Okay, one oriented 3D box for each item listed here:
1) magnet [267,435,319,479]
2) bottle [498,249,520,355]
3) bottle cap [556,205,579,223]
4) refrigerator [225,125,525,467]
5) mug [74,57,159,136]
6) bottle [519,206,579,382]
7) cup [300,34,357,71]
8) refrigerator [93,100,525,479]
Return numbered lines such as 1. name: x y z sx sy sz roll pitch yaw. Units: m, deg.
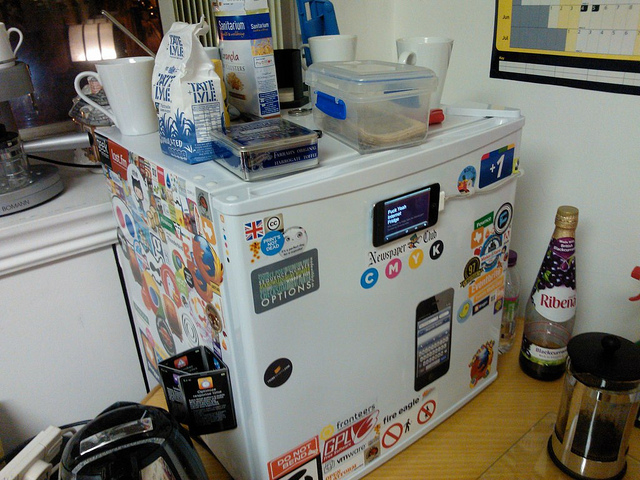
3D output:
1. magnet: -0.048 0.416 0.935 0.107 0.054 0.008 -15 29 -26
2. bottle: 0.486 0.170 1.290 0.064 0.233 0.057 -10 15 -40
3. bottle cap: 0.548 -0.058 1.089 0.036 0.027 0.037 19 33 36
4. refrigerator: 0.102 0.094 1.138 0.673 0.677 0.370 -16 23 -27
5. mug: -0.436 -0.307 1.070 0.168 0.153 0.120 -11 25 -15
6. bottle: 0.568 0.131 1.199 0.115 0.472 0.124 -5 32 3
7. cup: 0.014 -0.426 1.110 0.120 0.059 0.159 6 28 12
8. refrigerator: 0.037 0.156 1.360 0.931 0.935 0.754 -24 39 -31
